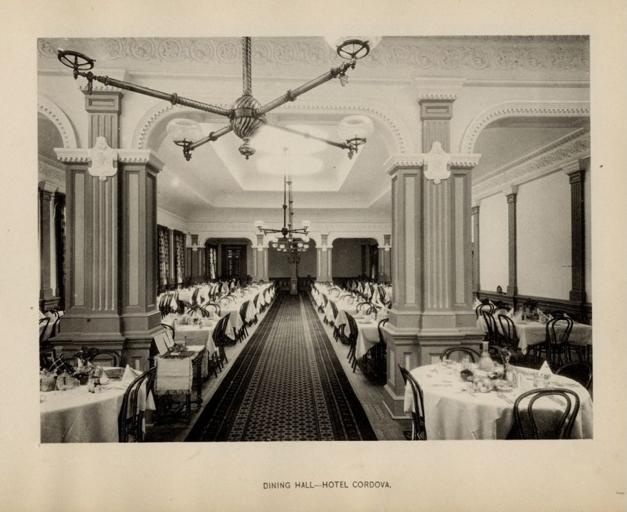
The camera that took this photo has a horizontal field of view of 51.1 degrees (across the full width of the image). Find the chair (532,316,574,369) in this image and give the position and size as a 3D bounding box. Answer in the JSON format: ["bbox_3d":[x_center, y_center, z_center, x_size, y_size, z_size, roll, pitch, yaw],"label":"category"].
[{"bbox_3d":[3.546,1.303,9.528,0.373,0.854,1.119,4,12,22],"label":"chair"}]

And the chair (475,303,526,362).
[{"bbox_3d":[2.777,1.170,9.716,0.623,1.029,0.675,-4,6,-11],"label":"chair"}]

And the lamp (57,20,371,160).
[{"bbox_3d":[-0.854,-1.603,6.658,2.001,1.566,2.047,-1,-3,-8],"label":"lamp"}]

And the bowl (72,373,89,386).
[{"bbox_3d":[-2.346,1.279,6.819,0.173,0.188,0.104,0,-7,-17],"label":"bowl"}]
